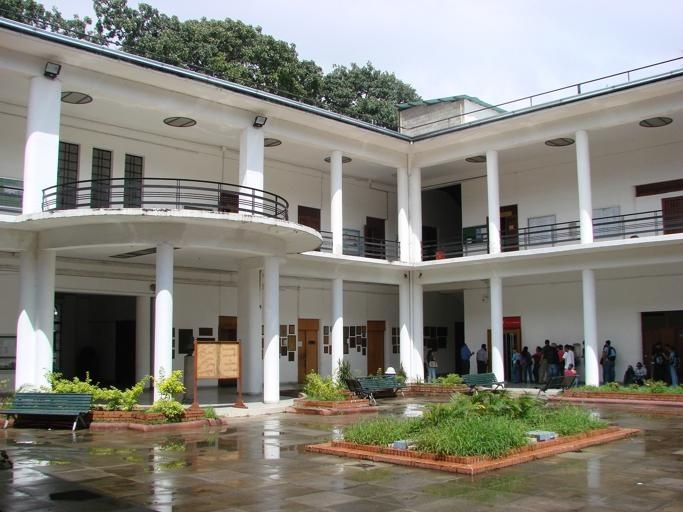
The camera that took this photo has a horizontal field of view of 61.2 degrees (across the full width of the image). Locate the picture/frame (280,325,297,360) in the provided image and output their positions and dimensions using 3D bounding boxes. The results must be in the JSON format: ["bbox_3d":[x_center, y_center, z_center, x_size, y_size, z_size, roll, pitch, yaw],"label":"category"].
[{"bbox_3d":[-2.641,4.151,27.859,0.108,2.092,1.605,-3,-8,34],"label":"picture/frame"}]

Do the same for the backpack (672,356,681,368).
[{"bbox_3d":[13.151,4.131,22.650,0.196,0.405,0.757,-12,-16,41],"label":"backpack"}]

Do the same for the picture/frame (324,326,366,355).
[{"bbox_3d":[0.312,4.361,30.446,0.375,1.651,2.910,-13,-16,42],"label":"picture/frame"}]

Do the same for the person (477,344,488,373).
[{"bbox_3d":[6.931,4.953,28.259,0.545,1.363,1.378,-4,-12,12],"label":"person"}]

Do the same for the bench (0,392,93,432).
[{"bbox_3d":[-7.615,4.013,15.071,2.366,0.993,0.752,-4,-12,9],"label":"bench"}]

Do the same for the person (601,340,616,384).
[{"bbox_3d":[11.458,4.417,24.621,0.549,1.778,1.458,-7,-13,24],"label":"person"}]
